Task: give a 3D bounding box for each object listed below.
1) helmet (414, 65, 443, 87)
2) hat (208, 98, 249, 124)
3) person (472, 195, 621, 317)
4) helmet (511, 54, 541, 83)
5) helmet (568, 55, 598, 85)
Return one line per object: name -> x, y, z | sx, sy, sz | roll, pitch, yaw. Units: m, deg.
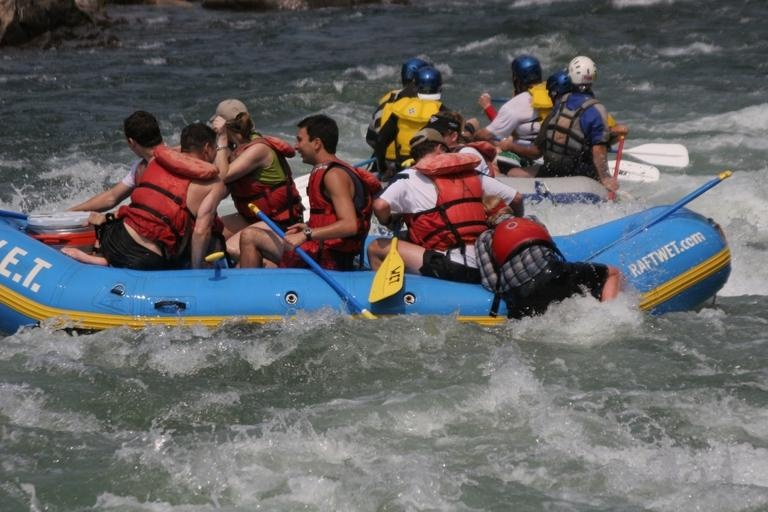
helmet -> 0.633, -2.504, 15.074 | 0.290, 0.274, 0.323 | 2, 23, -1
hat -> -1.949, -1.781, 13.199 | 0.498, 0.227, 0.327 | 1, 31, 31
person -> 1.744, 0.041, 12.753 | 1.624, 1.030, 0.688 | 20, 24, -20
helmet -> 2.111, -2.734, 15.740 | 0.414, 0.366, 0.427 | -9, 37, -15
helmet -> 2.788, -2.593, 15.090 | 0.377, 0.381, 0.421 | -4, 31, -13
